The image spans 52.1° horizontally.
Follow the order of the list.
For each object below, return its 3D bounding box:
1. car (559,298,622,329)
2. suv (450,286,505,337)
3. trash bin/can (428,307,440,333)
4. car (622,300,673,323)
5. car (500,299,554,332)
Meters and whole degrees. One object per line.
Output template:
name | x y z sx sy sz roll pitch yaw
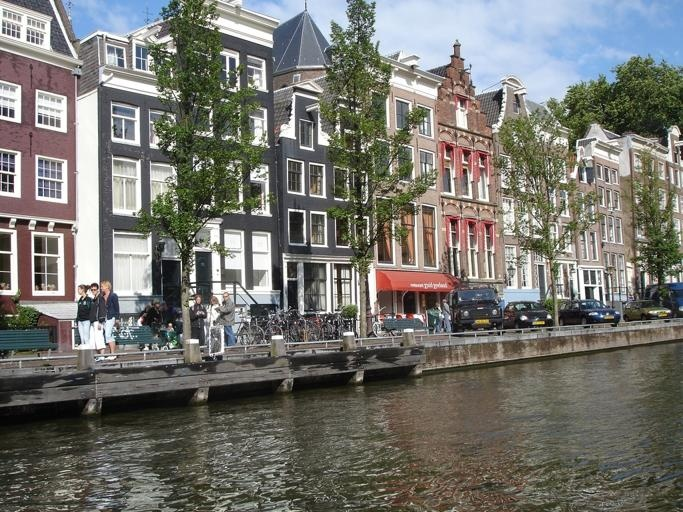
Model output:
car | 13.954 3.318 39.912 1.582 1.196 2.756 2 -9 -22
suv | 6.091 2.431 31.623 1.526 1.447 2.680 -1 -11 -5
trash bin/can | 5.272 3.705 40.290 1.008 1.413 0.414 -3 -1 -4
car | 19.108 3.491 43.883 1.464 1.013 2.402 2 -9 -21
car | 9.361 3.093 36.297 1.503 1.175 2.495 1 -12 -13
